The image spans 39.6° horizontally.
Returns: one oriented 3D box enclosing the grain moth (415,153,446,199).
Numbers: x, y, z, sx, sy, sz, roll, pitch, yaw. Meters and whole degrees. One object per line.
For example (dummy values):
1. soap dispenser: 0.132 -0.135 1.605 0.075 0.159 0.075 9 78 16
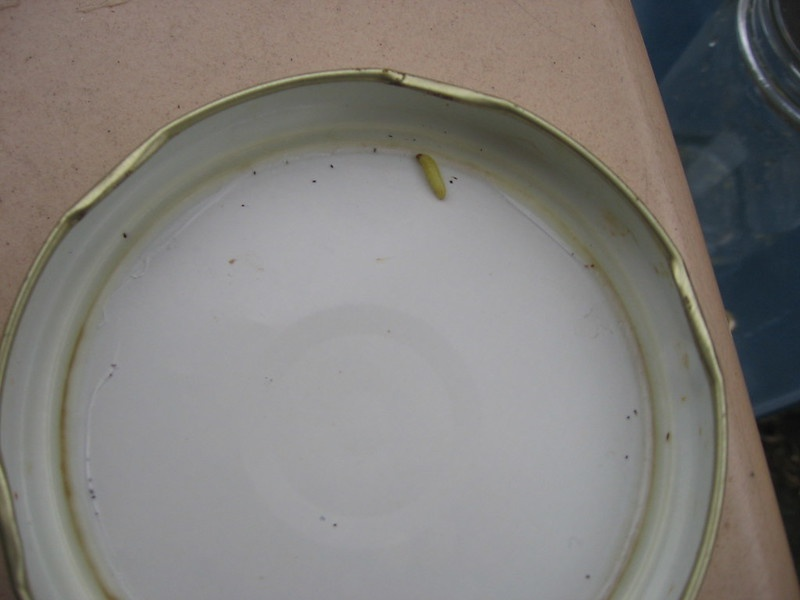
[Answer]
1. grain moth: 0.042 -0.177 1.561 0.025 0.018 0.078 -18 78 -3
